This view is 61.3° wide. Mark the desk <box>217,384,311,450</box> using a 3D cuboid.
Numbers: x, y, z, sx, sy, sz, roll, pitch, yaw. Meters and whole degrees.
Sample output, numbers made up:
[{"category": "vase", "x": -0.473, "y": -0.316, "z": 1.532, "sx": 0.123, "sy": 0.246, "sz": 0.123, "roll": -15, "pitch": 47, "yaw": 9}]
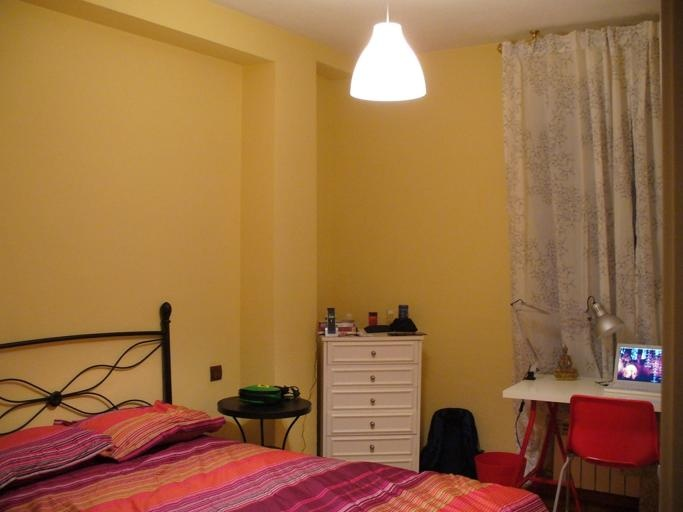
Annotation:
[{"category": "desk", "x": -0.453, "y": 1.010, "z": 3.695, "sx": 0.522, "sy": 0.409, "sz": 0.542, "roll": 2, "pitch": 5, "yaw": 23}]

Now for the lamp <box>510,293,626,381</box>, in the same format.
[{"category": "lamp", "x": 1.530, "y": 0.538, "z": 4.024, "sx": 0.711, "sy": 0.632, "sz": 0.379, "roll": -17, "pitch": -3, "yaw": 16}]

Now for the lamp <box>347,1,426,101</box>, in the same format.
[{"category": "lamp", "x": 0.229, "y": -0.996, "z": 2.908, "sx": 0.379, "sy": 0.689, "sz": 0.390, "roll": 0, "pitch": 1, "yaw": -1}]
